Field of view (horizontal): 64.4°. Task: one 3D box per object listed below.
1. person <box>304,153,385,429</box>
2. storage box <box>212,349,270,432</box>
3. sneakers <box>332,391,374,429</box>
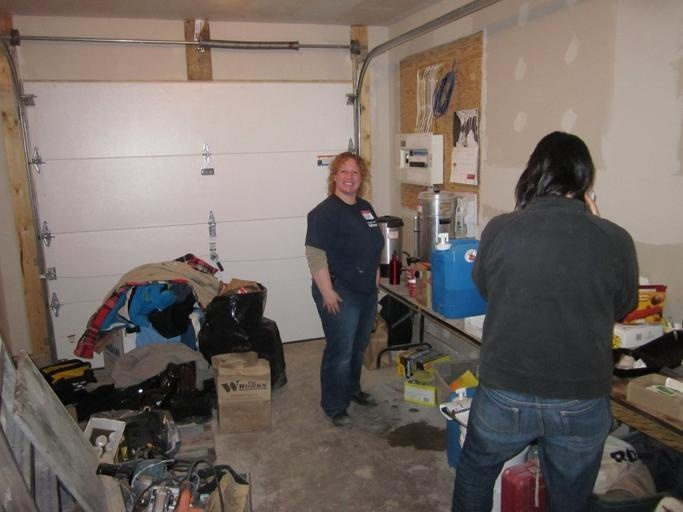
[{"bbox_3d":[0.021,0.363,3.660,0.507,1.536,0.329,-12,14,-38],"label":"person"},{"bbox_3d":[-0.691,0.939,3.767,0.372,0.462,0.330,-5,11,-13],"label":"storage box"},{"bbox_3d":[0.089,1.076,3.808,0.124,0.153,0.370,5,2,37],"label":"sneakers"}]
